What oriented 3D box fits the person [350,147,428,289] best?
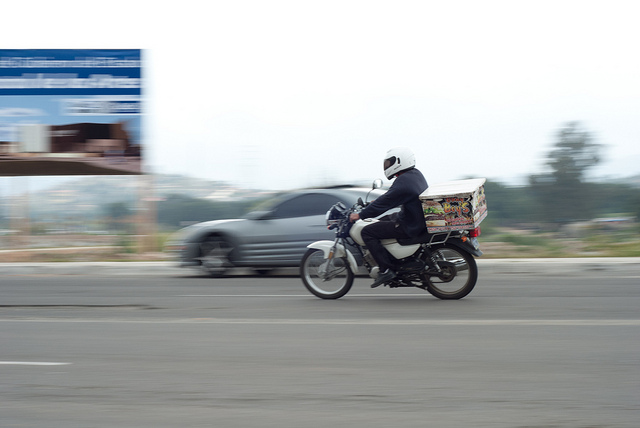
[{"bbox_3d":[1.302,0.094,17.330,1.313,2.583,0.931,-13,13,-24],"label":"person"}]

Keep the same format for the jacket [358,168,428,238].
[{"bbox_3d":[1.320,-0.178,17.237,1.126,1.196,0.527,-5,12,3],"label":"jacket"}]
